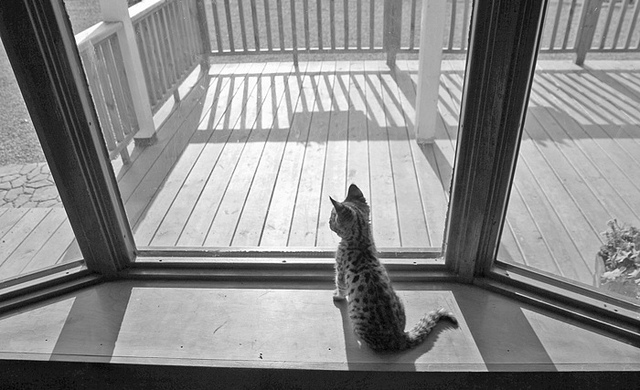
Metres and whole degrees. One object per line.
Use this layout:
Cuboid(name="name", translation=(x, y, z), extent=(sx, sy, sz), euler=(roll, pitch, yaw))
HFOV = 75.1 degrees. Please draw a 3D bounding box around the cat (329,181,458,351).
Cuboid(name="cat", translation=(0.270, 0.373, 1.941), extent=(0.432, 0.754, 0.492), euler=(-17, -43, -14))
